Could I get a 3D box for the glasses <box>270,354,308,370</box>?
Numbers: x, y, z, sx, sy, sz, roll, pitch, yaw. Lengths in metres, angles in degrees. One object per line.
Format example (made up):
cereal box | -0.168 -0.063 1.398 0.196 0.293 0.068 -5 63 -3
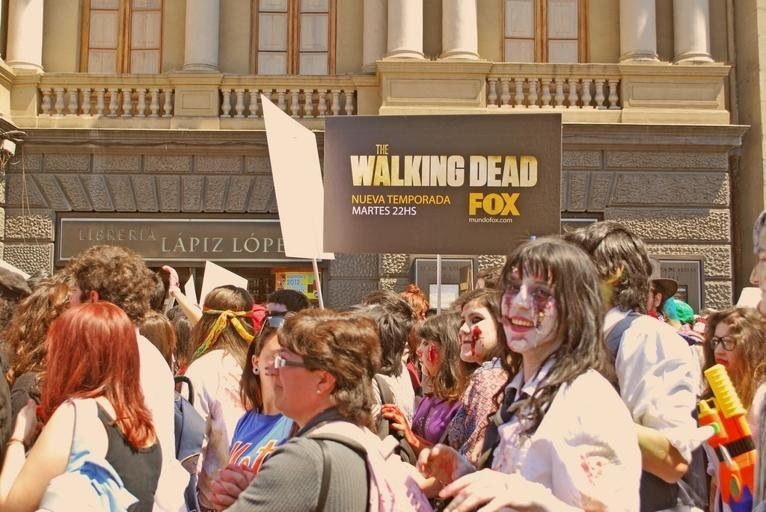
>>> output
glasses | -0.902 0.975 10.689 0.405 0.119 0.113 -1 -1 35
